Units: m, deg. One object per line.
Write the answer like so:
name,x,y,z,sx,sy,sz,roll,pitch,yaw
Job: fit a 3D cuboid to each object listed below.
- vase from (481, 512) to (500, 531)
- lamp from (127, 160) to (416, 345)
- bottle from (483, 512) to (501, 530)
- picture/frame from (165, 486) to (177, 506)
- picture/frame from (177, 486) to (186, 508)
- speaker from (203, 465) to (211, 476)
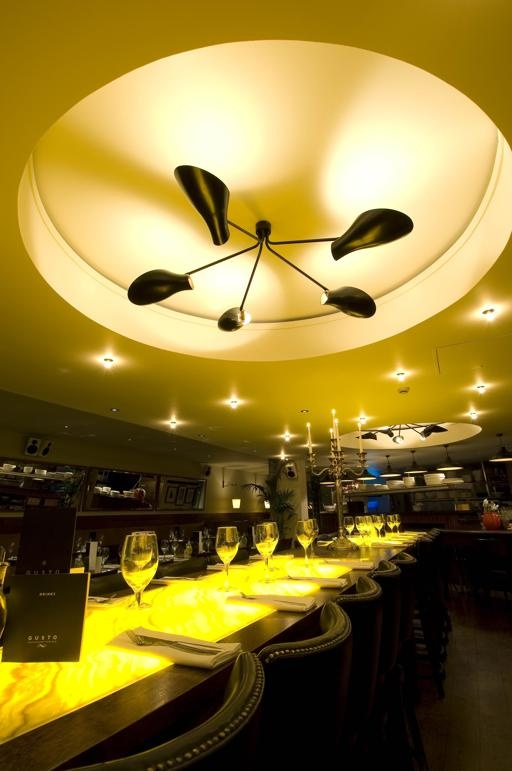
vase,3.056,1.786,6.202,0.207,0.235,0.233,-2,-17,11
lamp,0.040,-0.790,2.378,0.916,0.278,1.138,-4,-37,4
bottle,3.073,1.769,6.210,0.209,0.238,0.231,-5,-18,23
picture/frame,-1.650,2.139,9.171,0.046,0.381,0.361,-2,-9,20
picture/frame,-1.484,2.228,9.508,0.078,0.376,0.295,-5,-15,16
speaker,-1.058,1.879,10.419,0.040,0.199,0.122,5,-2,45
